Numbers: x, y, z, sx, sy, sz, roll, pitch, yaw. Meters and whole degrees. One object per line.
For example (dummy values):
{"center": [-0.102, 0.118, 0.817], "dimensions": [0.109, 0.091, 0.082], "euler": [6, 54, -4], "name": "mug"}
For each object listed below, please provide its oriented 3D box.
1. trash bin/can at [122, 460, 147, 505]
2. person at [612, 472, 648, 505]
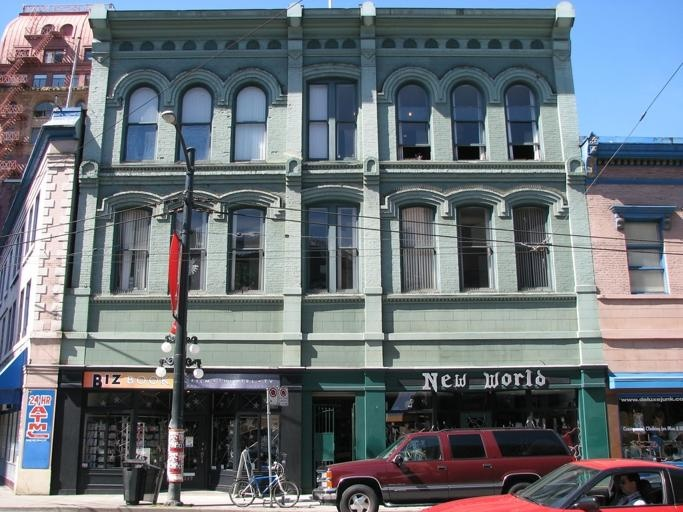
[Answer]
{"center": [-6.154, 6.711, 22.219], "dimensions": [0.700, 1.272, 0.570], "euler": [6, -22, -14], "name": "trash bin/can"}
{"center": [6.044, 4.901, 15.769], "dimensions": [0.588, 0.821, 1.040], "euler": [8, -15, 10], "name": "person"}
